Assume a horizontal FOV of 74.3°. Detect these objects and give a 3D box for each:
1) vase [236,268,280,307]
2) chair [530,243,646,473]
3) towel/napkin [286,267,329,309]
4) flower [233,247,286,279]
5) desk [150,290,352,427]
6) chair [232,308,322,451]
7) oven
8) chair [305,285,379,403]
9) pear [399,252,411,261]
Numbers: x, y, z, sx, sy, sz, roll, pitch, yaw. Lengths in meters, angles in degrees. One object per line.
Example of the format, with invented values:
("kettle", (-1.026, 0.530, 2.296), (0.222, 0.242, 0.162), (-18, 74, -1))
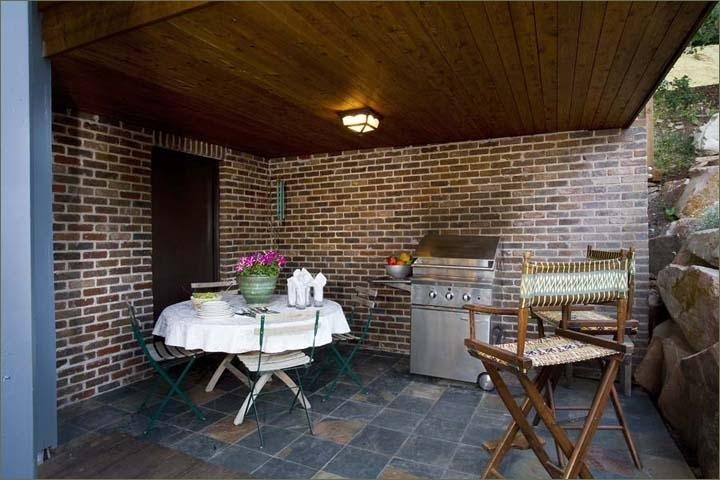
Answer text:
("vase", (-1.134, 0.539, 5.386), (0.420, 0.252, 0.392), (3, -8, -24))
("chair", (2.415, 1.156, 4.690), (1.203, 2.211, 1.232), (1, 11, 7))
("towel/napkin", (-0.593, 0.554, 5.514), (0.482, 0.433, 0.463), (-2, -3, 22))
("flower", (-1.131, 0.267, 5.447), (0.518, 0.261, 0.243), (-3, 13, -13))
("desk", (-1.094, 0.975, 4.936), (1.218, 1.847, 1.175), (-2, -2, 43))
("chair", (-0.839, 1.297, 4.946), (0.913, 1.297, 0.856), (0, -2, -26))
("oven", (1.116, 0.857, 6.172), (1.178, 1.671, 1.297), (7, 4, 10))
("chair", (-0.199, 1.325, 6.459), (1.311, 1.624, 1.044), (4, -6, -28))
("pear", (0.637, 0.230, 6.668), (0.136, 0.114, 0.120), (-1, -9, 1))
